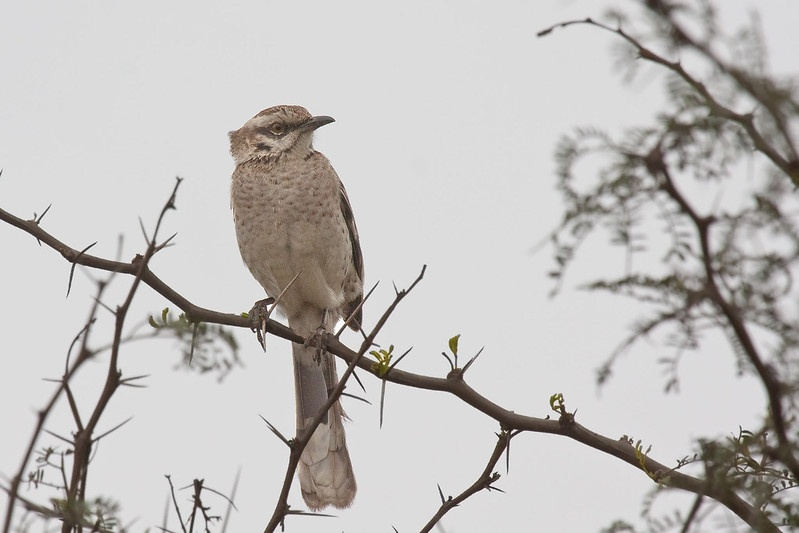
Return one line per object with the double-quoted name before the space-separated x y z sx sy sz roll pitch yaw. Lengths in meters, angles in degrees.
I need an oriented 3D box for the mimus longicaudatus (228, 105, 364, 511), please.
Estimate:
"mimus longicaudatus" -0.566 -0.110 6.299 0.684 0.963 2.817 -4 -93 5
